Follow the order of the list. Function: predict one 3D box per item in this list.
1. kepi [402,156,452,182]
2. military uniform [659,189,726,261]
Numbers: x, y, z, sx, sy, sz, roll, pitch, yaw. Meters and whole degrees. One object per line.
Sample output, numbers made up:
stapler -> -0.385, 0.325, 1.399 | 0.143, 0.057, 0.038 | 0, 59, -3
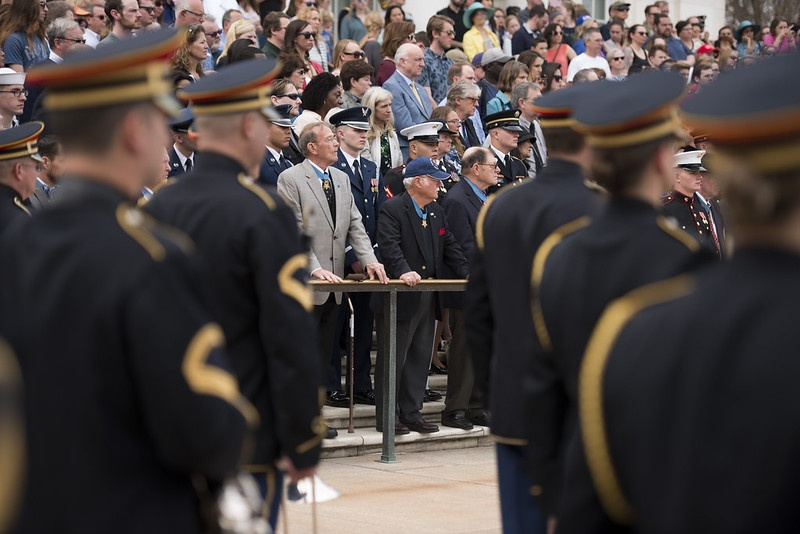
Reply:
kepi -> 0.173, -0.682, 9.550 | 0.237, 0.136, 0.163 | -3, 12, 2
military uniform -> 1.642, -0.247, 7.748 | 0.216, 0.460, 0.370 | -7, 10, 34
